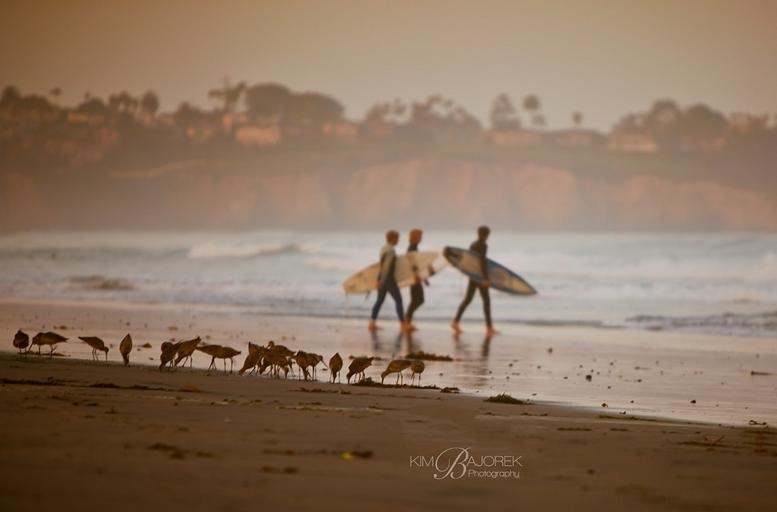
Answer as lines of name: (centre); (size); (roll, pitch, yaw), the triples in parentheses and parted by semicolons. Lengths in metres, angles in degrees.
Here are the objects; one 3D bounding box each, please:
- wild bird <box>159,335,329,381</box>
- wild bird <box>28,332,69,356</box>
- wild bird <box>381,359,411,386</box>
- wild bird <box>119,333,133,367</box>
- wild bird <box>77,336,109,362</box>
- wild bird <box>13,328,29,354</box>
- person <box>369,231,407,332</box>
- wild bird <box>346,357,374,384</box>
wild bird: (-2.058, 1.422, 20.435); (2.265, 0.513, 0.915); (3, -5, -2)
wild bird: (-4.934, 1.236, 20.874); (0.272, 0.360, 0.941); (0, -9, -34)
wild bird: (0.093, 1.591, 20.033); (0.389, 0.325, 0.622); (3, -5, 0)
wild bird: (-3.667, 1.293, 20.332); (0.203, 0.493, 0.341); (1, 3, 1)
wild bird: (-4.200, 1.313, 20.785); (0.376, 0.349, 0.952); (4, -5, -10)
wild bird: (-5.290, 1.224, 20.913); (0.229, 0.319, 0.636); (4, -5, -15)
person: (0.014, 0.379, 22.997); (0.526, 1.593, 0.608); (4, -5, -10)
wild bird: (-0.426, 1.585, 20.203); (0.338, 0.380, 0.792); (3, -5, -2)
